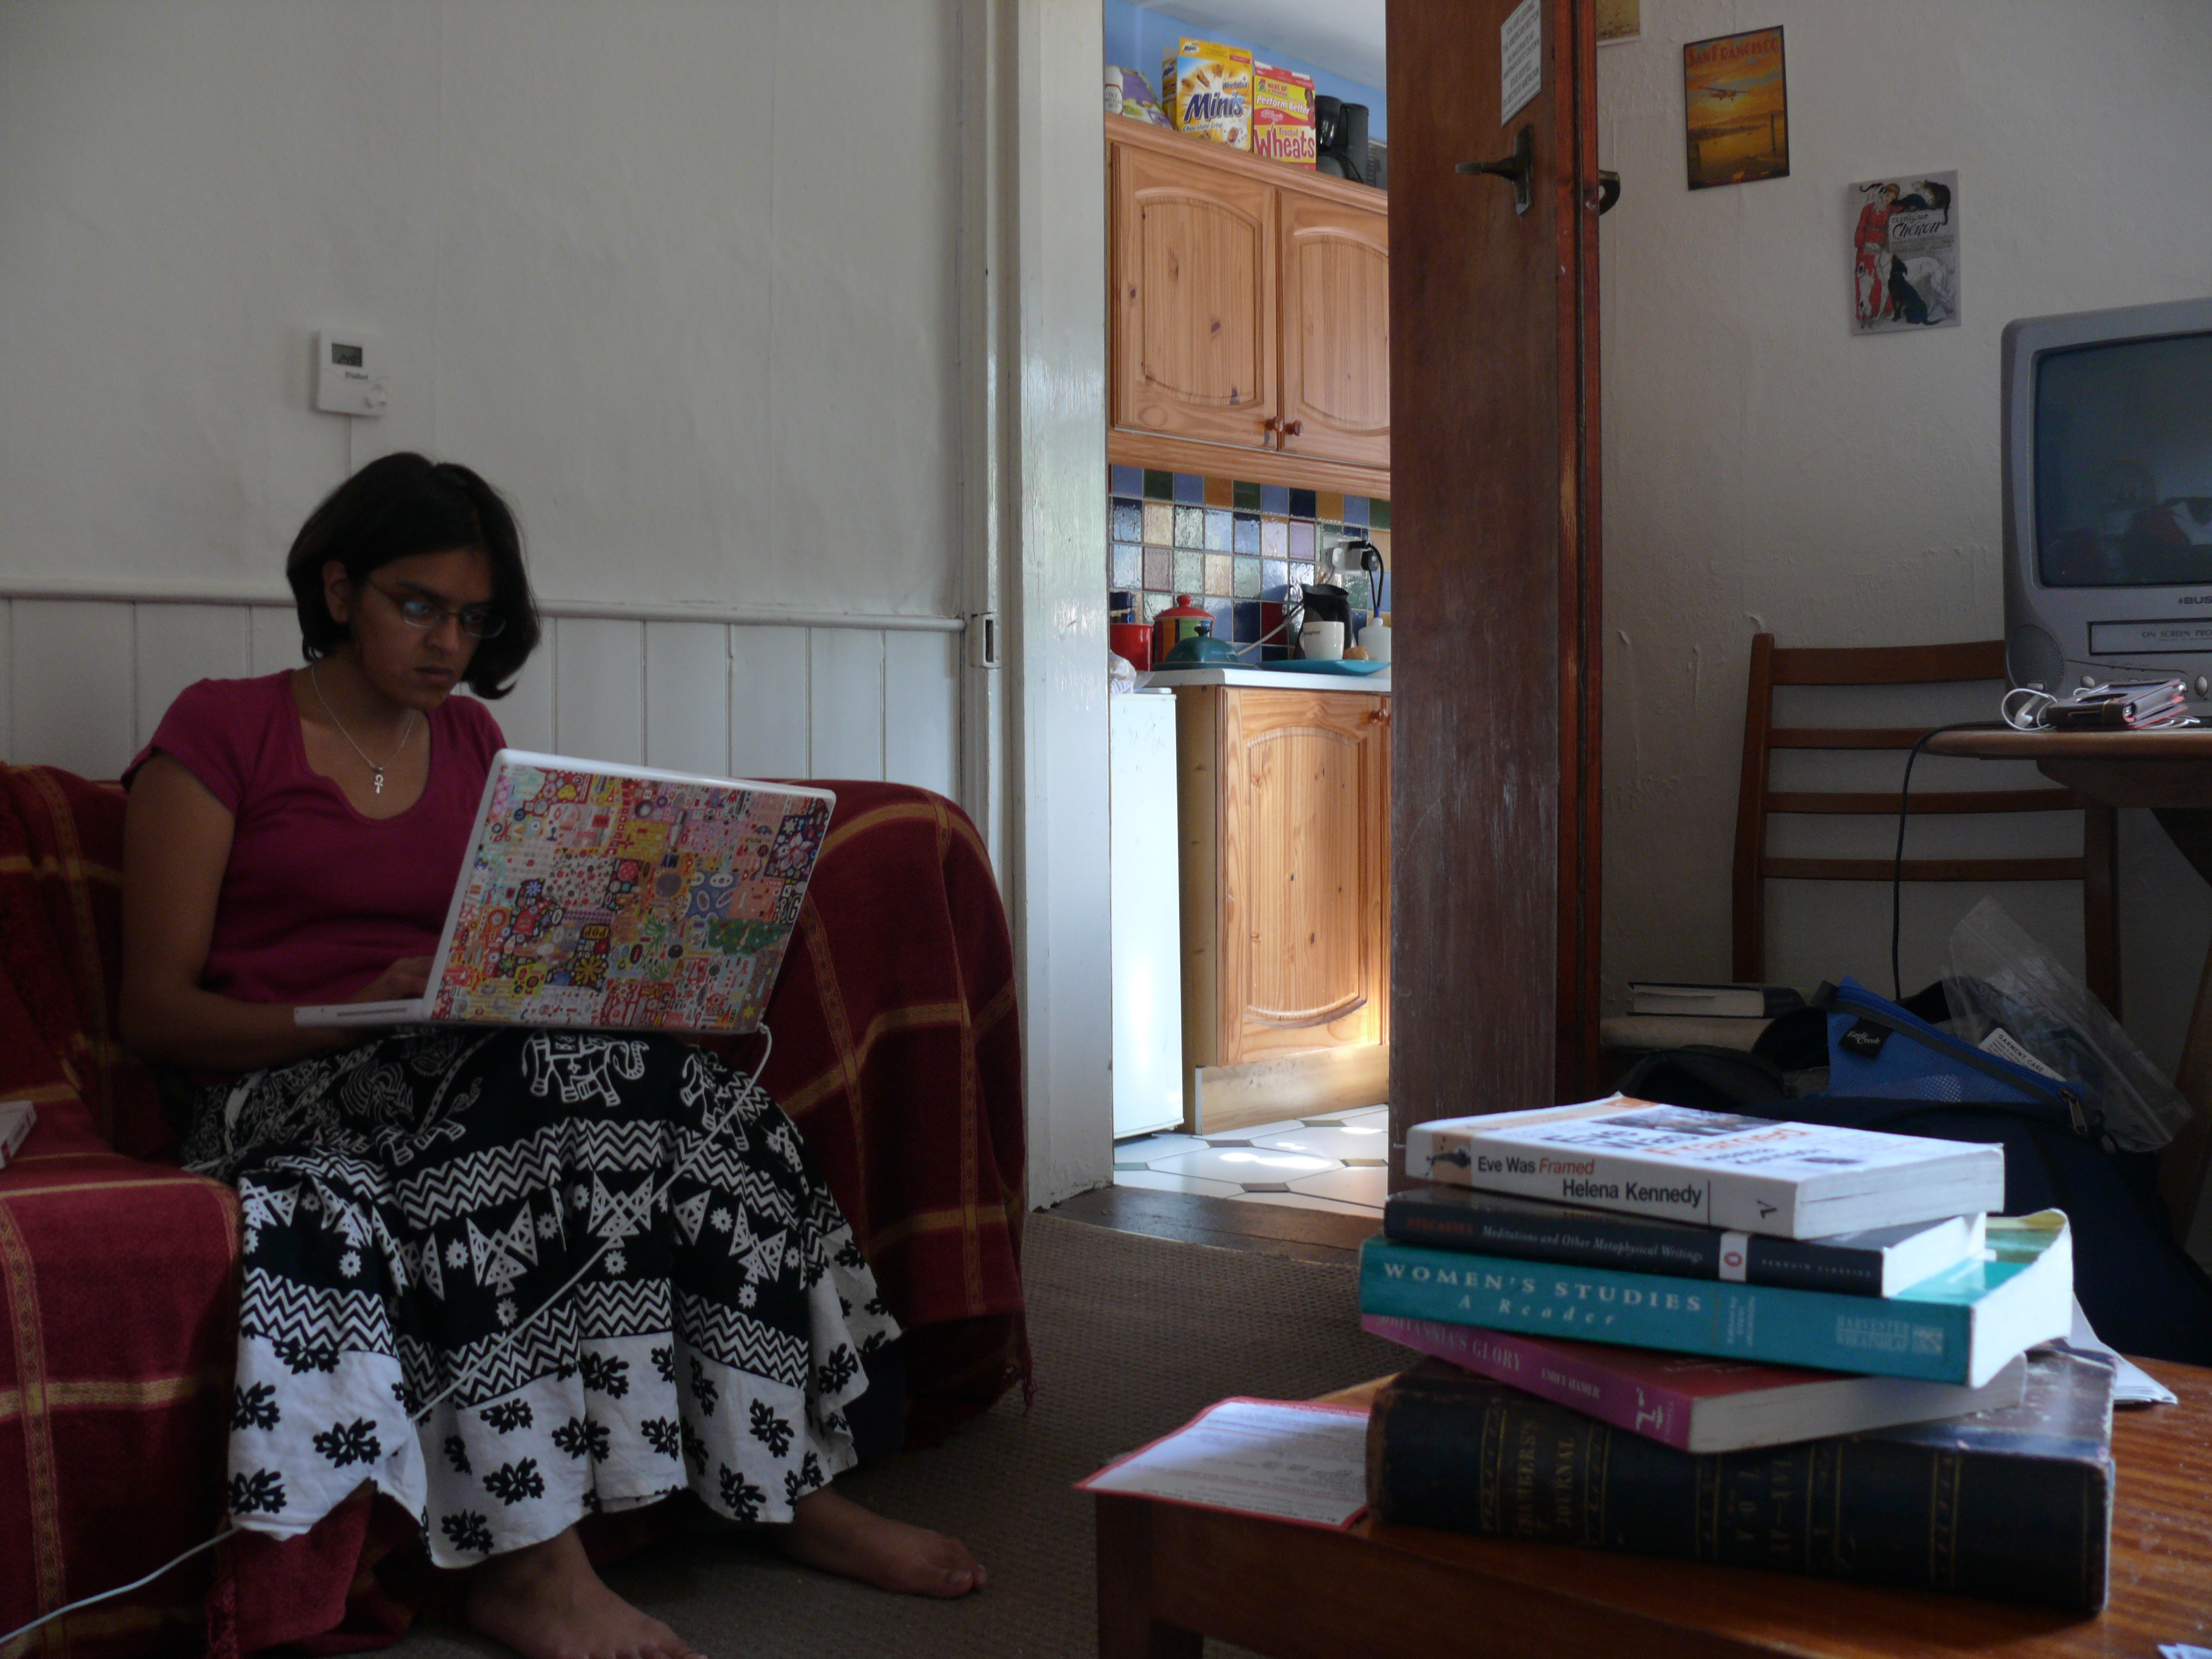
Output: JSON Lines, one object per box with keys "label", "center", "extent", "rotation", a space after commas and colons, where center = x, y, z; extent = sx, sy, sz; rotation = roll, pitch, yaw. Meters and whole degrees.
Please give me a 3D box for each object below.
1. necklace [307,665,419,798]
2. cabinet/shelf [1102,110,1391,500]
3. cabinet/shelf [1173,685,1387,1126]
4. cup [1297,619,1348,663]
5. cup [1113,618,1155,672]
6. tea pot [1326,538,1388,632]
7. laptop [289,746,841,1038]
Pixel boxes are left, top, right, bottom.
{"label": "necklace", "center": [-0.809, -0.117, 1.959], "extent": [0.031, 0.132, 0.125], "rotation": [-23, -25, 24]}
{"label": "cabinet/shelf", "center": [0.495, -1.365, 4.620], "extent": [1.008, 0.717, 0.340], "rotation": [25, 38, 38]}
{"label": "cabinet/shelf", "center": [0.355, 0.119, 4.358], "extent": [0.615, 0.911, 0.598], "rotation": [-1, 3, -17]}
{"label": "cup", "center": [0.568, -0.496, 4.702], "extent": [0.100, 0.094, 0.096], "rotation": [-3, 9, 1]}
{"label": "cup", "center": [0.084, -0.450, 4.460], "extent": [0.091, 0.115, 0.110], "rotation": [5, 9, 31]}
{"label": "tea pot", "center": [0.715, -0.711, 5.106], "extent": [0.178, 0.189, 0.322], "rotation": [-5, 4, 8]}
{"label": "laptop", "center": [-0.543, 0.078, 1.819], "extent": [0.418, 0.271, 0.474], "rotation": [-1, -6, 26]}
